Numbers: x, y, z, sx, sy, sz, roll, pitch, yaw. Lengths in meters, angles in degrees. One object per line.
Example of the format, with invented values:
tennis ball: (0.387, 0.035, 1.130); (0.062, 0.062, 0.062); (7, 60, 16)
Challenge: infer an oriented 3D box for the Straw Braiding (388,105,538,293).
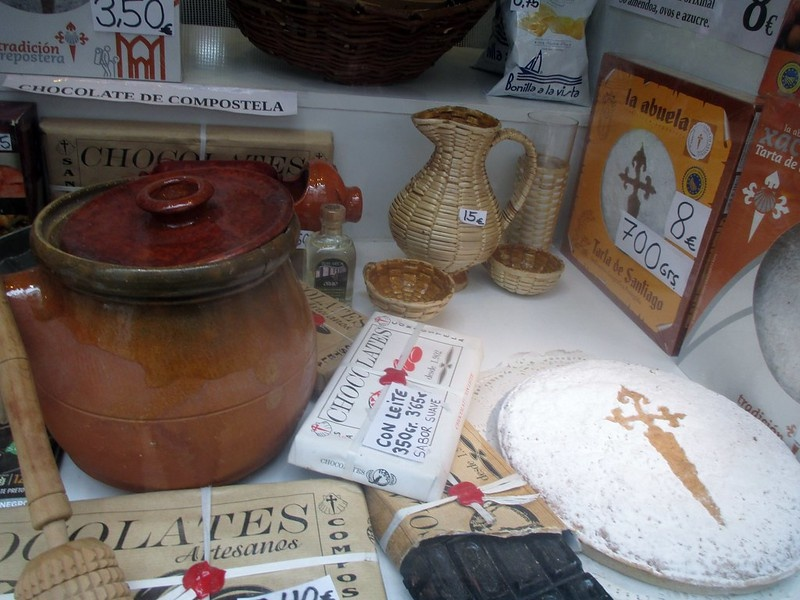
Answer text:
Straw Braiding: (0.031, -0.195, 1.111); (0.294, 0.345, 0.252); (4, 29, -8)

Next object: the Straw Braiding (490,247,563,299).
Straw Braiding: (0.223, -0.054, 1.095); (0.110, 0.044, 0.110); (24, 34, 32)

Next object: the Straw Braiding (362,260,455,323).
Straw Braiding: (0.017, -0.027, 0.952); (0.112, 0.053, 0.122); (9, 26, -4)
